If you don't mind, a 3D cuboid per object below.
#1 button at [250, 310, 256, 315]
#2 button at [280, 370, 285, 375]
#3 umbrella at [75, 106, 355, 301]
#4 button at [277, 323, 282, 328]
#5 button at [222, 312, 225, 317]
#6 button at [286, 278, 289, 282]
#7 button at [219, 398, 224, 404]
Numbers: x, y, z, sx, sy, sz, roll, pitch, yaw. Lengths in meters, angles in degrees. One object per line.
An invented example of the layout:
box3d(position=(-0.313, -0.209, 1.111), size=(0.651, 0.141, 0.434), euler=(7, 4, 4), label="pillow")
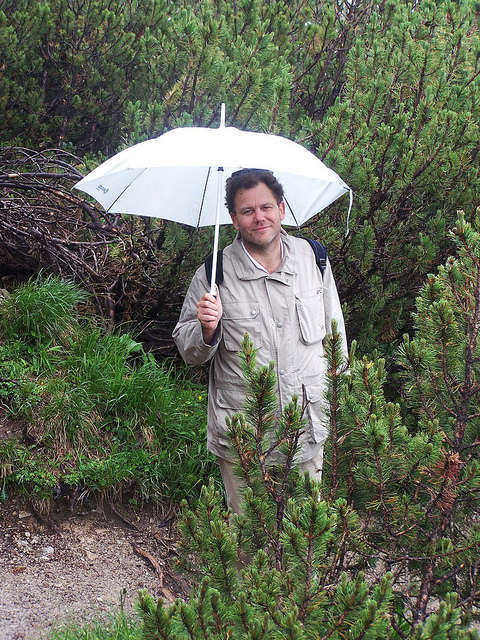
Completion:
box3d(position=(0.061, -0.030, 2.731), size=(0.019, 0.017, 0.004), euler=(0, -18, 0), label="button")
box3d(position=(0.188, 0.232, 2.690), size=(0.016, 0.018, 0.016), euler=(3, -12, 1), label="button")
box3d(position=(-0.167, -0.637, 2.746), size=(0.888, 0.716, 0.809), euler=(-18, 22, -26), label="umbrella")
box3d(position=(0.179, 0.026, 2.734), size=(0.023, 0.019, 0.011), euler=(20, 21, -19), label="button")
box3d(position=(-0.070, -0.021, 2.746), size=(0.016, 0.014, 0.004), euler=(-1, -8, -22), label="button")
box3d(position=(0.219, -0.180, 2.809), size=(0.018, 0.015, 0.004), euler=(0, -8, -12), label="button")
box3d(position=(-0.078, 0.361, 2.721), size=(0.005, 0.013, 0.030), euler=(10, 24, -43), label="button")
